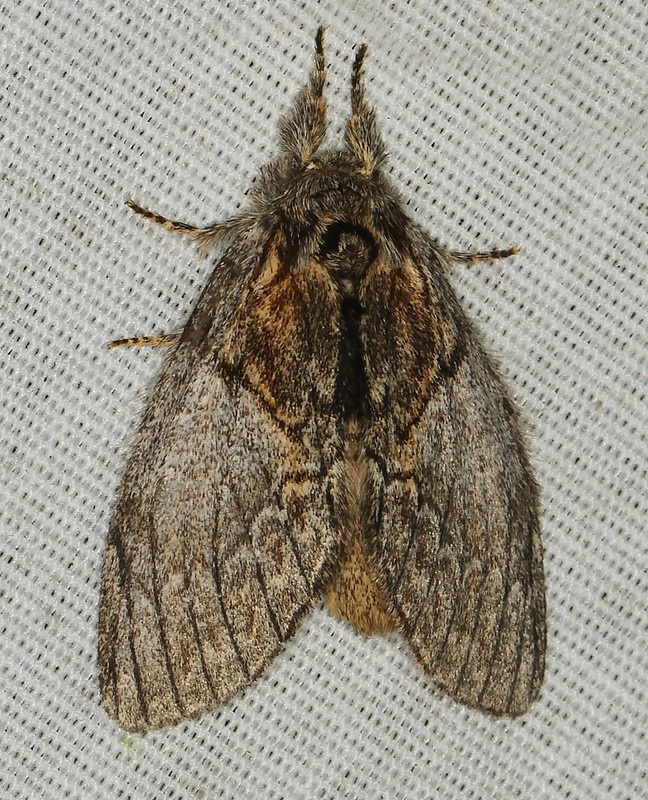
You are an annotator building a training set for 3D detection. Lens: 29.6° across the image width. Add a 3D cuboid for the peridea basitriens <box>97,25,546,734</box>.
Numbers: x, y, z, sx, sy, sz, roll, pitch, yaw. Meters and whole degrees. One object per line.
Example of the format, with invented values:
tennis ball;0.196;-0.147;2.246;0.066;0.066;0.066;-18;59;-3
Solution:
peridea basitriens;-0.006;0.060;3.309;1.169;0.353;1.588;-1;84;-1
